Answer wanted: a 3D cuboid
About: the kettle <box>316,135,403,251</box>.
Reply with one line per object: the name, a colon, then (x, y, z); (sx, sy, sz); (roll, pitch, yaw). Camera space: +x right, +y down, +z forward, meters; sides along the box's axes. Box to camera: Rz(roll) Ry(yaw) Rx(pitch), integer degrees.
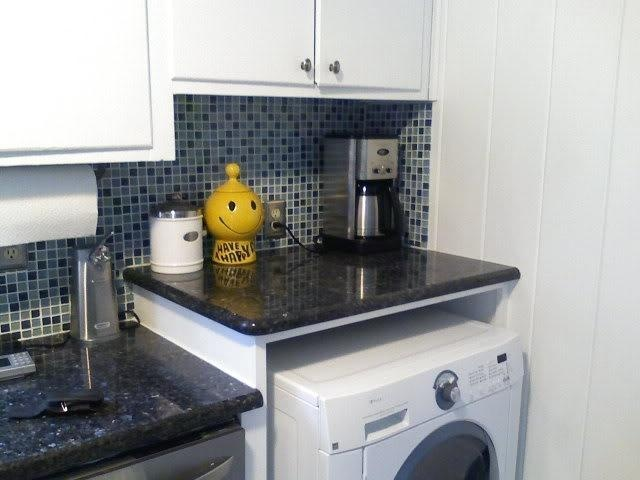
kettle: (0.176, -0.194, 2.154); (0.339, 0.456, 0.352); (1, 9, 8)
